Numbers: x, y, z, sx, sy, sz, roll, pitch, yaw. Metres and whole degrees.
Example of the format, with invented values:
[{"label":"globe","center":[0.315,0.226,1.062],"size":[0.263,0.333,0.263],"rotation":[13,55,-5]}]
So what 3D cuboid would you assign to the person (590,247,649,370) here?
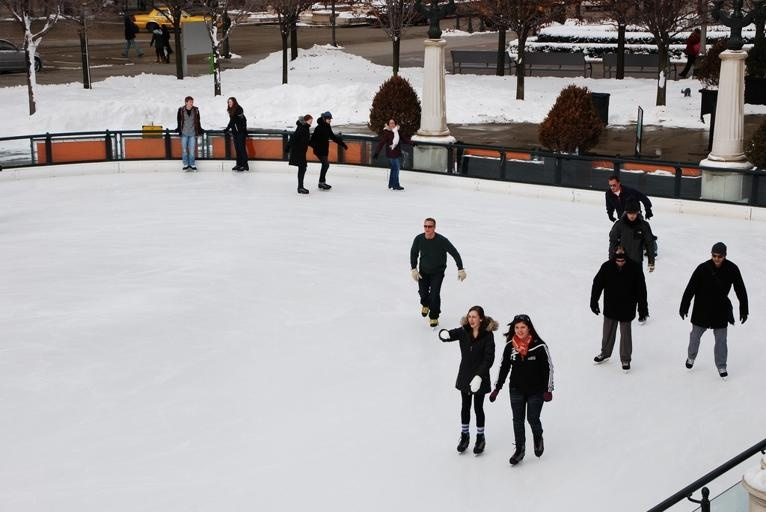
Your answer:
[{"label":"person","center":[3.630,0.813,12.723],"size":[0.896,1.902,0.524],"rotation":[-1,15,4]}]

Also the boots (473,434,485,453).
[{"label":"boots","center":[1.305,2.506,11.081],"size":[0.111,0.211,0.289],"rotation":[1,10,21]}]

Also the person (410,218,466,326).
[{"label":"person","center":[0.921,0.288,13.955],"size":[0.794,1.960,0.559],"rotation":[3,16,16]}]

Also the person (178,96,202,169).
[{"label":"person","center":[-5.720,-3.588,24.713],"size":[0.723,2.252,1.015],"rotation":[-5,16,-14]}]

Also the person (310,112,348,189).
[{"label":"person","center":[-1.485,-2.937,23.015],"size":[0.841,2.135,1.504],"rotation":[-1,15,2]}]

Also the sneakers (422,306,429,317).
[{"label":"sneakers","center":[0.750,0.969,14.476],"size":[0.091,0.186,0.070],"rotation":[3,-3,7]}]

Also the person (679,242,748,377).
[{"label":"person","center":[4.981,0.811,12.464],"size":[0.933,2.031,0.552],"rotation":[4,16,20]}]

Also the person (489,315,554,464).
[{"label":"person","center":[1.831,1.730,10.797],"size":[0.729,1.927,0.497],"rotation":[0,15,8]}]

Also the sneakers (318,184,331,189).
[{"label":"sneakers","center":[-1.605,-1.906,22.911],"size":[0.384,0.185,0.133],"rotation":[-1,16,-4]}]

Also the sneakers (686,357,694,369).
[{"label":"sneakers","center":[4.752,1.655,12.857],"size":[0.103,0.154,0.149],"rotation":[1,9,5]}]

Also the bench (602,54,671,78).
[{"label":"bench","center":[12.569,-9.448,41.182],"size":[3.318,1.063,3.130],"rotation":[-2,16,0]}]

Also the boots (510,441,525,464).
[{"label":"boots","center":[1.774,2.587,10.820],"size":[0.112,0.213,0.347],"rotation":[2,4,29]}]

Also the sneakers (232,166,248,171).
[{"label":"sneakers","center":[-4.286,-2.630,25.106],"size":[0.441,0.197,0.165],"rotation":[3,14,1]}]

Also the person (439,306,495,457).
[{"label":"person","center":[1.214,1.639,11.020],"size":[0.592,1.959,0.608],"rotation":[-9,17,-26]}]

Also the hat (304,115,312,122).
[{"label":"hat","center":[-1.920,-3.603,21.591],"size":[0.150,0.208,0.202],"rotation":[10,-12,16]}]

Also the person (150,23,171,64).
[{"label":"person","center":[-11.087,-10.534,41.894],"size":[0.749,1.623,2.078],"rotation":[-6,16,-16]}]

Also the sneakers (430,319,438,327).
[{"label":"sneakers","center":[0.901,1.148,14.243],"size":[0.121,0.093,0.099],"rotation":[2,1,-38]}]

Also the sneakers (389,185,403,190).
[{"label":"sneakers","center":[0.404,-1.851,22.745],"size":[0.309,0.141,0.126],"rotation":[-1,20,-2]}]

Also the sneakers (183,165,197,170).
[{"label":"sneakers","center":[-5.811,-2.657,25.073],"size":[0.348,0.158,0.146],"rotation":[5,18,3]}]

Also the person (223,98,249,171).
[{"label":"person","center":[-4.261,-3.527,24.460],"size":[0.611,2.270,1.262],"rotation":[-4,15,-9]}]

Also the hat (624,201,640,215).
[{"label":"hat","center":[4.361,-0.835,14.435],"size":[0.229,0.253,0.218],"rotation":[2,16,13]}]

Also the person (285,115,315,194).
[{"label":"person","center":[-2.208,-2.771,22.452],"size":[0.618,2.151,1.588],"rotation":[-3,15,-6]}]

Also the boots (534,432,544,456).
[{"label":"boots","center":[2.058,2.475,10.915],"size":[0.109,0.323,0.210],"rotation":[-1,-3,7]}]

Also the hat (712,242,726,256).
[{"label":"hat","center":[4.961,-0.090,12.249],"size":[0.224,0.202,0.234],"rotation":[8,5,20]}]

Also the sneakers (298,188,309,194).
[{"label":"sneakers","center":[-2.121,-1.721,22.320],"size":[0.263,0.122,0.130],"rotation":[-1,19,-6]}]

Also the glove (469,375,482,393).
[{"label":"glove","center":[1.209,1.645,10.686],"size":[0.144,0.206,0.073],"rotation":[3,-9,11]}]

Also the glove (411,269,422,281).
[{"label":"glove","center":[0.511,0.330,13.835],"size":[0.184,0.184,0.335],"rotation":[3,6,-4]}]

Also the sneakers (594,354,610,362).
[{"label":"sneakers","center":[3.481,1.617,13.112],"size":[0.273,0.125,0.099],"rotation":[-3,12,-32]}]

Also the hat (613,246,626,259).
[{"label":"hat","center":[3.599,-0.039,12.583],"size":[0.159,0.171,0.207],"rotation":[-1,6,3]}]
